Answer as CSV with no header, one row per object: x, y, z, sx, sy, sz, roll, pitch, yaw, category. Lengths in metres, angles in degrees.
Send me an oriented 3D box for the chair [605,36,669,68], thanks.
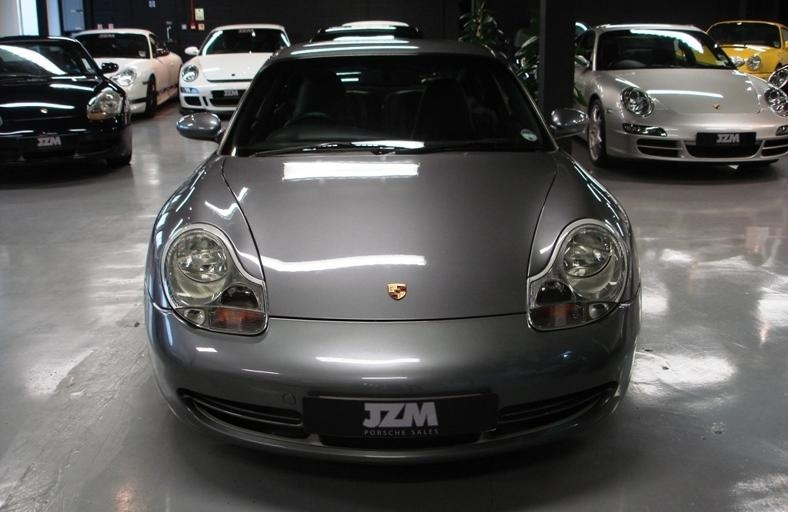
2.807,-2.315,5.911,0.434,0.333,0.764,-2,19,0,chair

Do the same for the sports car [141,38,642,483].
0.187,-0.511,2.684,1.454,1.027,2.997,-1,31,7,sports car
